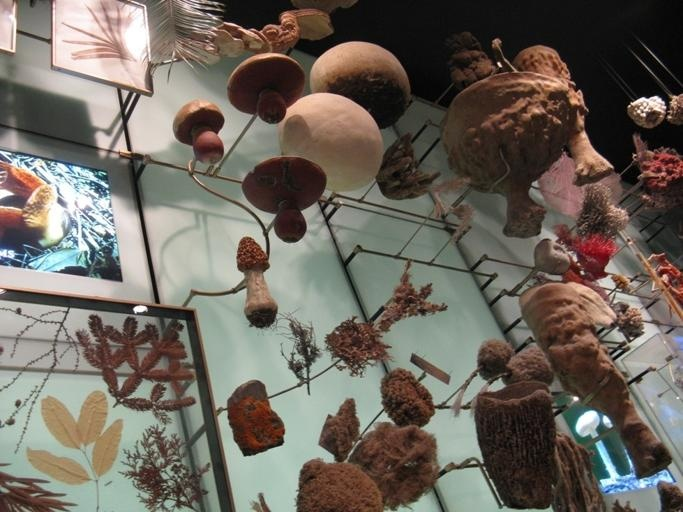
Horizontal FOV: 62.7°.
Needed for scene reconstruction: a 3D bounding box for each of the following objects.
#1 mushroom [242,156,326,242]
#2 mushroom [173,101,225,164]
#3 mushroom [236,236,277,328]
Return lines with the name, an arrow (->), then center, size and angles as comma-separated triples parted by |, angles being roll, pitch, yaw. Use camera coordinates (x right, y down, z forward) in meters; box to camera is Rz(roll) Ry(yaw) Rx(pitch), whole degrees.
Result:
mushroom -> -0.268, -0.221, 2.938 | 0.439, 0.326, 0.466 | -1, -31, -15
mushroom -> -0.782, -0.662, 3.062 | 0.239, 0.374, 0.259 | 7, -20, -25
mushroom -> -0.425, 0.109, 2.822 | 0.188, 0.502, 0.210 | 2, -18, -11
